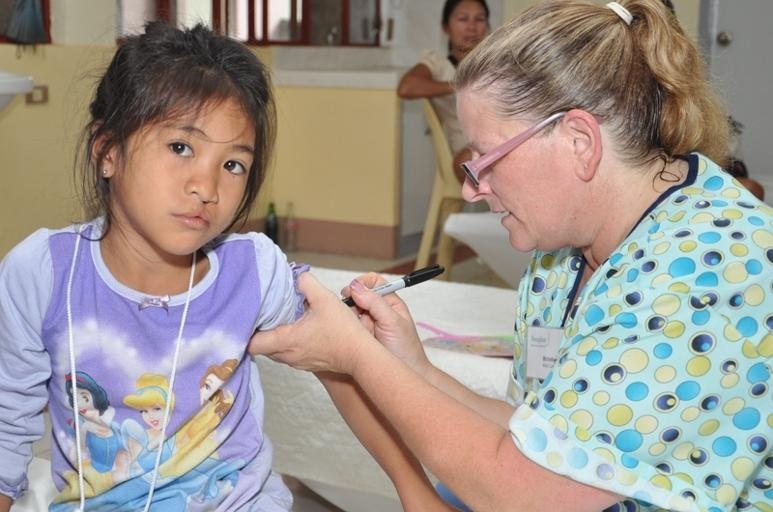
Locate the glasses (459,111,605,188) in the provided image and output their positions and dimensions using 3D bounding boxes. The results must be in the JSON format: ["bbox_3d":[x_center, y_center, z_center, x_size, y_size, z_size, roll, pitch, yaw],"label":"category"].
[{"bbox_3d":[0.216,-0.181,1.275,0.124,0.038,0.120,-37,-1,4],"label":"glasses"}]
